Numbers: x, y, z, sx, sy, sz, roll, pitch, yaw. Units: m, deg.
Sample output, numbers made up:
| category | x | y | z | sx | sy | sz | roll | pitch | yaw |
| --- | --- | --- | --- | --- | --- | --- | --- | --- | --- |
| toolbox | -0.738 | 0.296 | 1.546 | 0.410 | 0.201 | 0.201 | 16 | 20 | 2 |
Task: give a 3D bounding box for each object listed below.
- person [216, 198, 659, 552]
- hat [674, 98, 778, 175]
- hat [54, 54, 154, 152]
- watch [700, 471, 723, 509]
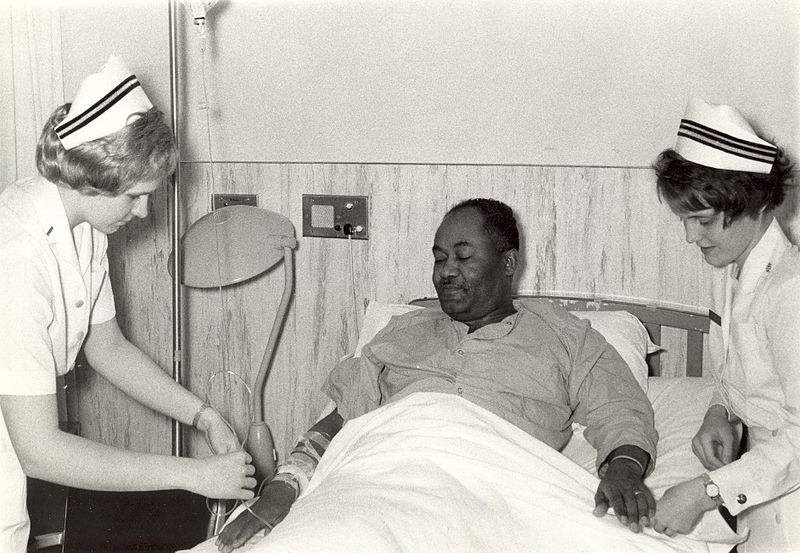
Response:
| category | x | y | z | sx | sy | sz | roll | pitch | yaw |
| --- | --- | --- | --- | --- | --- | --- | --- | --- | --- |
| person | 0.201 | 0.329 | 2.793 | 0.844 | 0.408 | 1.114 | 2 | 29 | 18 |
| hat | 1.064 | -0.452 | 2.452 | 0.298 | 0.179 | 0.224 | 24 | 17 | 24 |
| hat | -0.939 | -0.517 | 2.351 | 0.284 | 0.300 | 0.090 | -31 | -14 | -20 |
| watch | 0.960 | 0.649 | 2.252 | 0.052 | 0.089 | 0.090 | -36 | -7 | 0 |
